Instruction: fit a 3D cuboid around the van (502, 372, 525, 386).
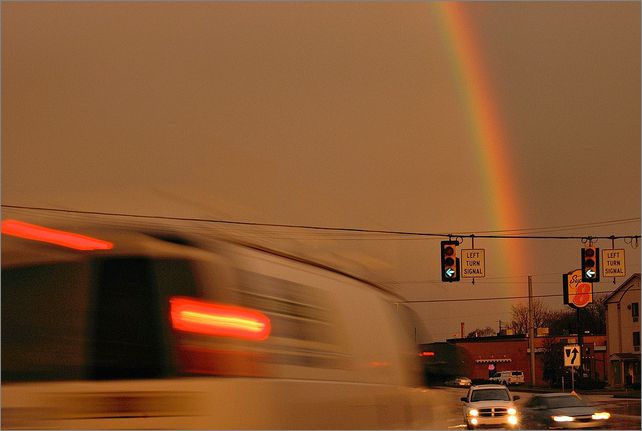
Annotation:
[{"bbox_3d":[20.082,17.082,81.509,1.942,1.626,3.141,9,-9,-3],"label":"van"}]
